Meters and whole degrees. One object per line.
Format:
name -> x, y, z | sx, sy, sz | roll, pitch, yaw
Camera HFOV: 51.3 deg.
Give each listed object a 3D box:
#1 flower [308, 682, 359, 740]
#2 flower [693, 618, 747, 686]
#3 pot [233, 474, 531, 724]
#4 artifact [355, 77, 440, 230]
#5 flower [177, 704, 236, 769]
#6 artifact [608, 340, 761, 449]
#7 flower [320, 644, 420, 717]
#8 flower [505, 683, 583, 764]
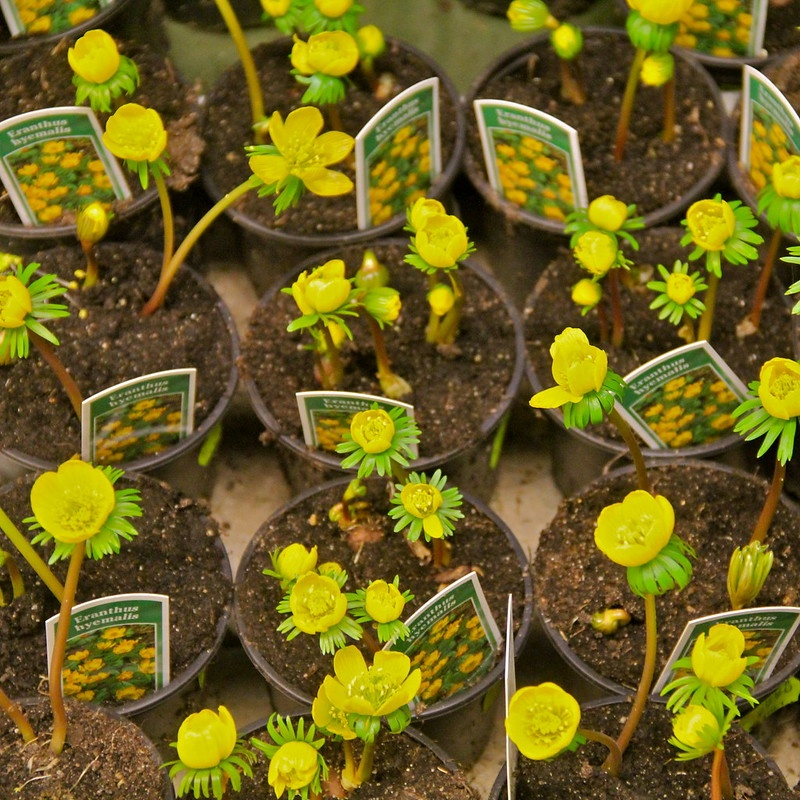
flower -> -0.122, 0.568, 1.548 | 0.123, 0.097, 0.053 | -8, 26, 21
flower -> 0.513, 0.415, 1.384 | 0.081, 0.089, 0.103 | 2, 50, 9
pot -> -0.064, 0.556, 2.286 | 0.805, 0.261, 0.728 | -5, 82, -44
artifact -> 0.007, -0.722, 2.447 | 0.381, 0.435, 0.085 | -42, 68, -18
flower -> -0.314, 0.557, 1.419 | 0.088, 0.065, 0.070 | -20, 88, -36
artifact -> 0.717, -0.009, 2.172 | 0.304, 0.304, 0.083 | -27, 38, 14
flower -> -0.047, 0.504, 1.450 | 0.164, 0.172, 0.073 | 0, 98, -24
flower -> 0.226, 0.510, 1.341 | 0.107, 0.085, 0.107 | -39, 68, -18
